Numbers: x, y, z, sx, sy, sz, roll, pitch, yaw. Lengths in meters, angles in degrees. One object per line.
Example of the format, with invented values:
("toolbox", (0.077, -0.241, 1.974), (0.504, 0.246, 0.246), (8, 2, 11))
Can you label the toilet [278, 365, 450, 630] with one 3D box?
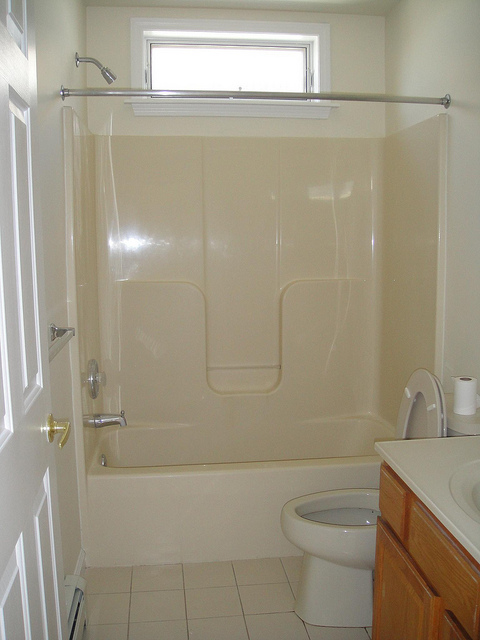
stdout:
("toilet", (0.363, 0.587, 1.771), (0.343, 0.969, 0.326), (-4, 7, 20))

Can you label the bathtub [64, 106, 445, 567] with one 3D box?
("bathtub", (0.005, -0.005, 2.351), (1.247, 2.249, 0.571), (-1, 8, -9))

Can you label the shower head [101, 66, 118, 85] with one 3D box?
("shower head", (-0.514, -0.950, 1.954), (0.048, 0.056, 0.091), (-2, 8, -17))

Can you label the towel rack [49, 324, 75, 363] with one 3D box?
("towel rack", (-0.625, 0.070, 1.719), (0.092, 0.064, 0.087), (-6, 51, -4))
